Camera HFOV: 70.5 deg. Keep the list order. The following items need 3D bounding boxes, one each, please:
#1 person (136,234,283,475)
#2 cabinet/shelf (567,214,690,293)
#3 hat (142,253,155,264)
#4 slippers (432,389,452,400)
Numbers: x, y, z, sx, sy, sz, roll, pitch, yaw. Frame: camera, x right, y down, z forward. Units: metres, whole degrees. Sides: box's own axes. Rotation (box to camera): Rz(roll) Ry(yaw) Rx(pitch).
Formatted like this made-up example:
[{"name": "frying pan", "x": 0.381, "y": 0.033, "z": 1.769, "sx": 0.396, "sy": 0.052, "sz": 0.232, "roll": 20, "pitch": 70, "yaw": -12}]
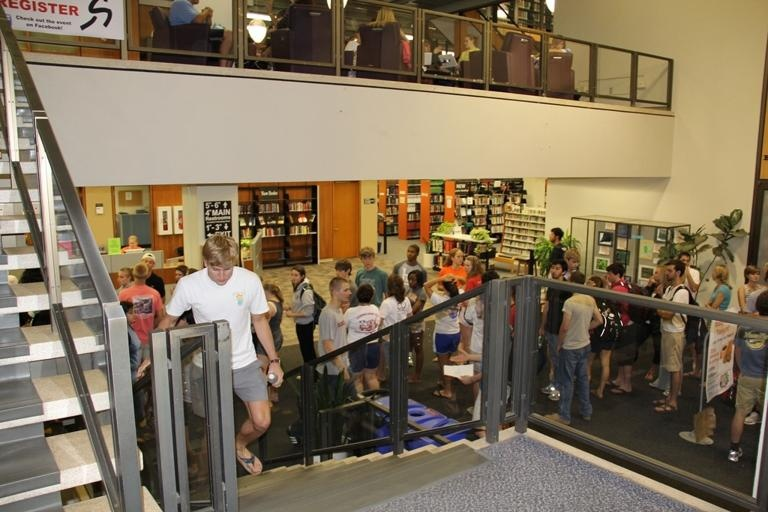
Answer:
[{"name": "person", "x": -1.240, "y": 0.975, "z": 4.293, "sx": 0.834, "sy": 2.314, "sz": 1.453, "roll": -3, "pitch": 9, "yaw": -8}, {"name": "cabinet/shelf", "x": 4.203, "y": -0.025, "z": 9.325, "sx": 0.447, "sy": 1.067, "sz": 1.277, "roll": -4, "pitch": 7, "yaw": -40}, {"name": "hat", "x": -3.843, "y": 0.033, "z": 8.836, "sx": 0.130, "sy": 0.177, "sz": 0.179, "roll": 3, "pitch": 1, "yaw": -21}, {"name": "slippers", "x": 0.521, "y": 1.221, "z": 4.818, "sx": 0.153, "sy": 0.037, "sz": 0.073, "roll": 12, "pitch": 20, "yaw": 33}]
